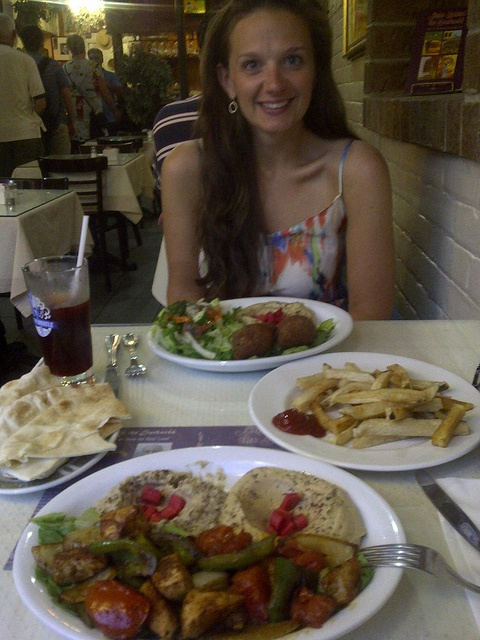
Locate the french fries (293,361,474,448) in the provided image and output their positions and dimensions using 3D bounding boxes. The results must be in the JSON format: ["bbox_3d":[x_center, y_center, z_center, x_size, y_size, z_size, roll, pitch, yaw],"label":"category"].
[{"bbox_3d":[0.202,0.117,0.709,0.244,0.068,0.211,0,14,7],"label":"french fries"}]

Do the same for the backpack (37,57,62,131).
[{"bbox_3d":[-2.224,-2.505,5.460,0.461,0.627,0.239,0,20,9],"label":"backpack"}]

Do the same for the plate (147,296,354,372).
[{"bbox_3d":[-0.002,-0.032,1.004,0.404,0.140,0.273,-11,14,-31],"label":"plate"}]

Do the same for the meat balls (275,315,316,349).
[{"bbox_3d":[0.105,0.022,0.899,0.053,0.038,0.068,-4,6,7],"label":"meat balls"}]

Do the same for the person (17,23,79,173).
[{"bbox_3d":[-2.129,-2.574,5.747,0.523,1.945,0.485,-2,20,-2],"label":"person"}]

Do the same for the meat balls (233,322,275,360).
[{"bbox_3d":[0.026,0.030,0.889,0.061,0.061,0.068,-13,19,-43],"label":"meat balls"}]

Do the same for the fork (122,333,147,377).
[{"bbox_3d":[-0.218,0.058,0.958,0.032,0.011,0.185,-3,19,-10],"label":"fork"}]
